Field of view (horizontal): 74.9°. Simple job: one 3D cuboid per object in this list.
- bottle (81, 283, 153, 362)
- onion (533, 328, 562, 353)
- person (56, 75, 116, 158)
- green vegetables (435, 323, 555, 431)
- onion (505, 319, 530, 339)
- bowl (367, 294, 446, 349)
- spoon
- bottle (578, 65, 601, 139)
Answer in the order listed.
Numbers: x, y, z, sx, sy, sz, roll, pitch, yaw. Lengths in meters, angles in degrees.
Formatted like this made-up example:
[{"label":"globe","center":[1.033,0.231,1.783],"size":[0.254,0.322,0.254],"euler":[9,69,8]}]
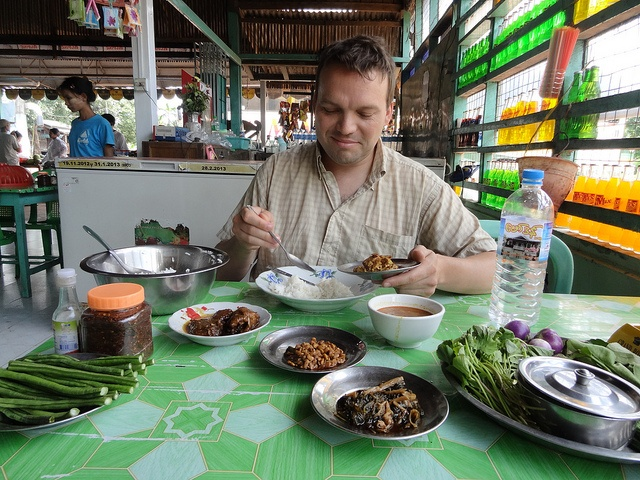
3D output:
[{"label":"bottle","center":[-0.552,0.225,1.267],"size":[0.199,0.260,0.192],"euler":[1,7,0]},{"label":"onion","center":[0.641,0.284,1.202],"size":[0.064,0.068,0.065],"euler":[-25,51,8]},{"label":"person","center":[-2.620,-1.390,4.712],"size":[0.461,0.863,0.448],"euler":[-9,16,-30]},{"label":"green vegetables","center":[0.432,0.301,1.025],"size":[0.214,0.070,0.212],"euler":[9,22,-4]},{"label":"onion","center":[0.576,0.264,1.224],"size":[0.069,0.060,0.059],"euler":[-8,-20,22]},{"label":"bowl","center":[0.261,0.218,1.283],"size":[0.176,0.097,0.179],"euler":[0,4,0]},{"label":"spoon","center":[-0.168,-0.005,1.908],"size":[0.053,0.365,0.068],"euler":[-38,4,34]},{"label":"bottle","center":[1.817,-0.934,2.818],"size":[0.128,0.491,0.382],"euler":[7,16,30]}]
